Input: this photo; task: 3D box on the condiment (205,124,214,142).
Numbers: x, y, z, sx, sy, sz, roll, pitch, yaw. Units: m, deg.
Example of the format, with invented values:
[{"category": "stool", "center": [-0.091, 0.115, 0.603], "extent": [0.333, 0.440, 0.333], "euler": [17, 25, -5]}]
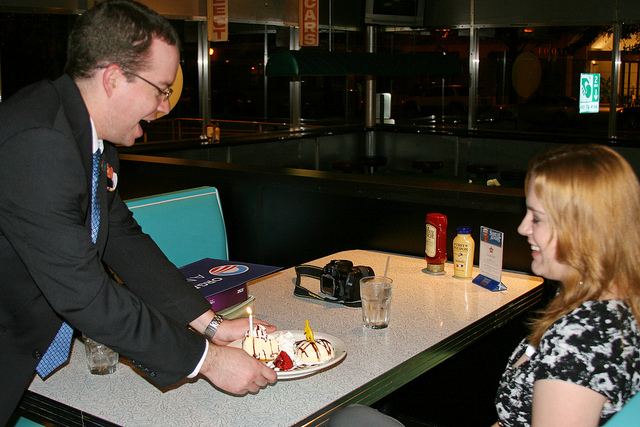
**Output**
[{"category": "condiment", "center": [-1.594, -1.179, 6.649], "extent": [0.105, 0.208, 0.220], "euler": [-4, 16, -14]}]

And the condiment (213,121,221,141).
[{"category": "condiment", "center": [-1.504, -1.211, 6.716], "extent": [0.118, 0.249, 0.446], "euler": [-4, 15, -12]}]

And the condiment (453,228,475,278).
[{"category": "condiment", "center": [0.637, 0.174, 2.065], "extent": [0.089, 0.216, 0.090], "euler": [7, 17, 24]}]

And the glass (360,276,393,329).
[{"category": "glass", "center": [0.194, 0.312, 1.643], "extent": [0.106, 0.164, 0.123], "euler": [1, 15, 5]}]

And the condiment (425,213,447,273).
[{"category": "condiment", "center": [0.530, 0.134, 2.130], "extent": [0.092, 0.254, 0.115], "euler": [3, 16, 11]}]

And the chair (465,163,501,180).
[{"category": "chair", "center": [2.458, -0.651, 7.044], "extent": [0.446, 0.230, 0.441], "euler": [4, 10, 29]}]

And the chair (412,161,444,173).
[{"category": "chair", "center": [1.719, -0.761, 7.518], "extent": [0.457, 0.164, 0.199], "euler": [4, 16, 17]}]

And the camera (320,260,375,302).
[{"category": "camera", "center": [0.114, 0.256, 1.941], "extent": [0.251, 0.138, 0.241], "euler": [7, 10, 32]}]
